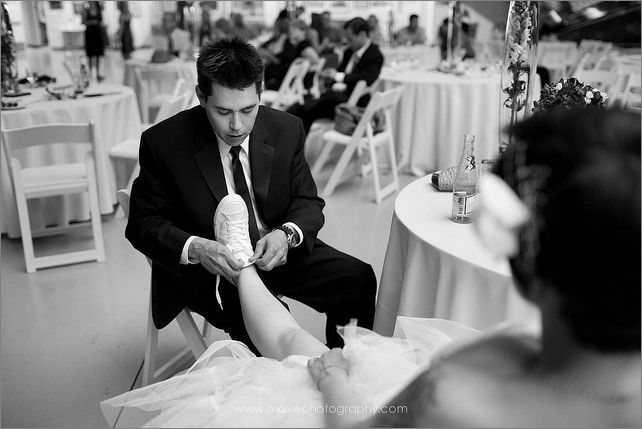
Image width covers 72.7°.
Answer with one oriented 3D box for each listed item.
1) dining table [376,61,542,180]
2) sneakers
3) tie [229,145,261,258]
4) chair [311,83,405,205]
[{"bbox_3d":[1.522,-1.133,5.022,1.296,1.029,1.347,7,29,11],"label":"dining table"},{"bbox_3d":[-0.362,0.121,1.819,0.116,0.375,0.139,-6,15,-18],"label":"sneakers"},{"bbox_3d":[-0.362,-0.054,1.973,0.127,0.456,0.173,-12,6,-16],"label":"tie"},{"bbox_3d":[0.453,-0.777,4.634,0.922,1.096,0.963,-9,22,-18],"label":"chair"}]
